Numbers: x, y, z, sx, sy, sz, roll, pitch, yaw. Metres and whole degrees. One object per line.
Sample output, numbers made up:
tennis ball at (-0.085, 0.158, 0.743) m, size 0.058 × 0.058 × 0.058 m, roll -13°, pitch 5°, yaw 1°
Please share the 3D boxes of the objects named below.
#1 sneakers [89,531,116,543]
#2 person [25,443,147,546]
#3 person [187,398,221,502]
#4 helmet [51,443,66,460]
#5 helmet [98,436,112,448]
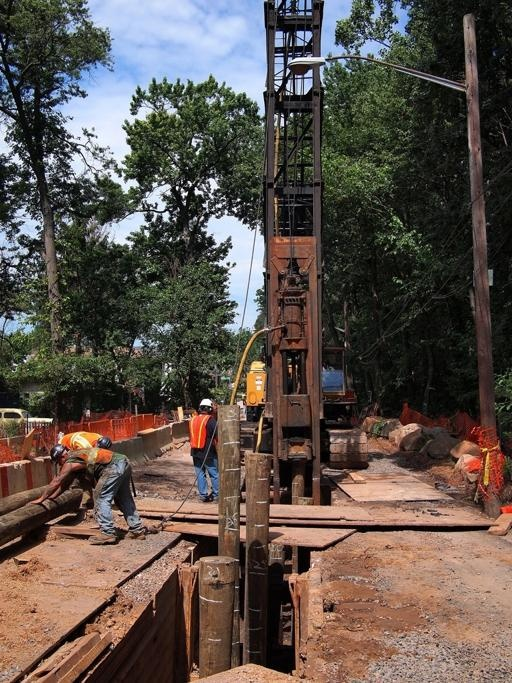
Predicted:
sneakers at (-1.928, 2.476, 7.718) m, size 0.325 × 0.172 × 0.131 m, roll 5°, pitch -12°, yaw -3°
person at (-1.924, 1.970, 7.916) m, size 1.553 × 1.465 × 0.912 m, roll -4°, pitch -19°, yaw 11°
person at (-0.881, 1.892, 10.310) m, size 0.479 × 1.732 × 1.178 m, roll 2°, pitch -2°, yaw -5°
helmet at (-2.497, 1.427, 7.635) m, size 0.150 × 0.191 × 0.150 m, roll 27°, pitch 23°, yaw -15°
helmet at (-1.971, 1.328, 8.000) m, size 0.142 × 0.183 × 0.165 m, roll -21°, pitch -3°, yaw -22°
